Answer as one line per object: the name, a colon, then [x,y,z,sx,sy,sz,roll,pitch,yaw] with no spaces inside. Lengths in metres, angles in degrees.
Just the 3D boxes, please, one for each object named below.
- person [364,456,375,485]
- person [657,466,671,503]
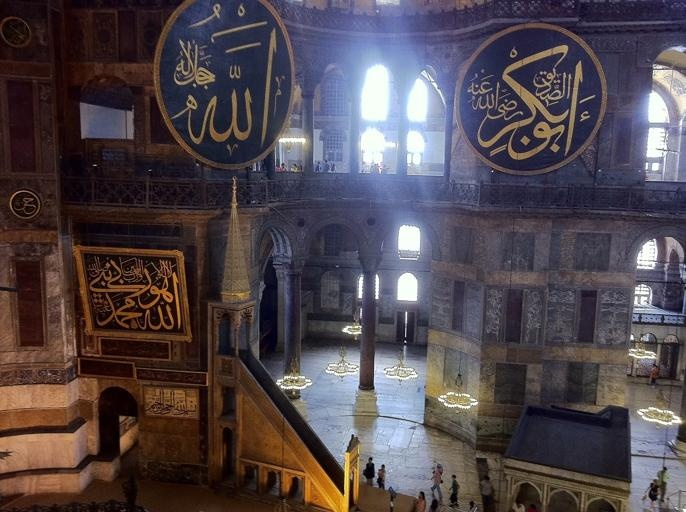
person: [0.724,5.926,18.372,0.328,0.773,0.974,3,2,3]
person: [8.705,6.170,18.033,0.237,0.890,0.581,4,2,27]
